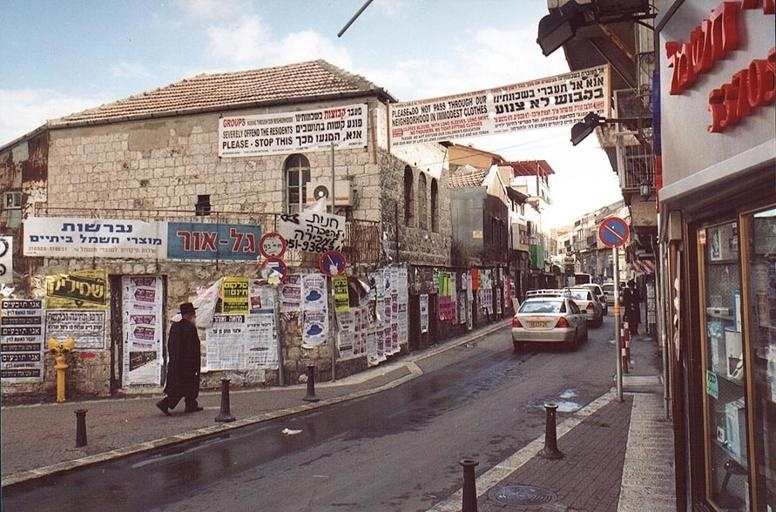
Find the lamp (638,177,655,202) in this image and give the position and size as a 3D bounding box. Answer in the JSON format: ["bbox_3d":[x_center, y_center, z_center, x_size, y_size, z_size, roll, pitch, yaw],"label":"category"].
[{"bbox_3d":[7.810,-2.011,22.445,0.425,0.697,0.769,0,5,21],"label":"lamp"}]

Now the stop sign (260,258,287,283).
[{"bbox_3d":[-3.014,0.418,19.708,0.661,0.747,0.906,-3,4,-11],"label":"stop sign"}]

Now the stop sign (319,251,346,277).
[{"bbox_3d":[-1.445,0.218,19.767,0.569,0.679,0.861,-2,4,3],"label":"stop sign"}]

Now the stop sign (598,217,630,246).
[{"bbox_3d":[4.857,-0.508,16.097,0.581,0.698,0.564,-1,4,16],"label":"stop sign"}]

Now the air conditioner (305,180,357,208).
[{"bbox_3d":[-1.727,-1.930,22.711,1.393,0.977,0.800,0,1,7],"label":"air conditioner"}]

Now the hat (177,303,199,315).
[{"bbox_3d":[-4.525,1.217,16.983,0.316,0.217,0.369,-3,-1,29],"label":"hat"}]
